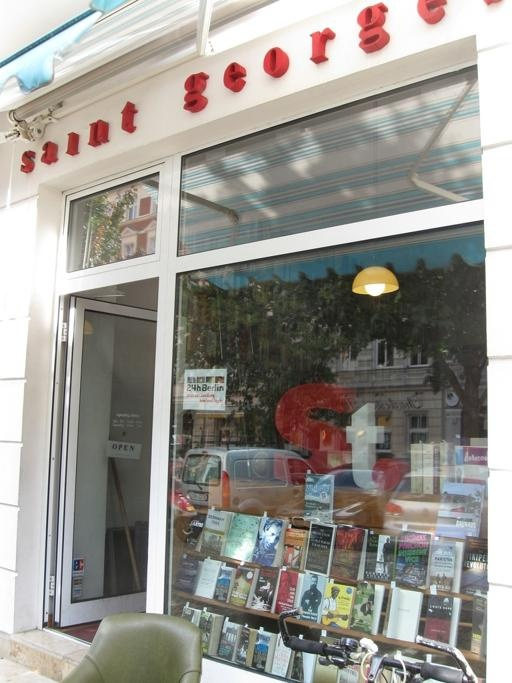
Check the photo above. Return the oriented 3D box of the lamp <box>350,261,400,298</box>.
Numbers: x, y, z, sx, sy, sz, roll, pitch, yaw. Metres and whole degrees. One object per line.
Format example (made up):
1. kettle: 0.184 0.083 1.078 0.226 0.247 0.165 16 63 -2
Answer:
1. lamp: 0.482 -0.240 2.311 0.043 0.133 0.214 9 -7 -39
